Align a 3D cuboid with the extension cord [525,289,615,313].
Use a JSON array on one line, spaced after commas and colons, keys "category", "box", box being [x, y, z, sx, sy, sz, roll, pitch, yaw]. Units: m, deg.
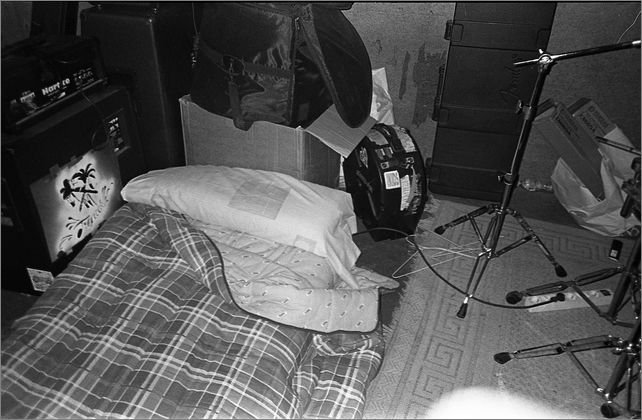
[{"category": "extension cord", "box": [1.378, 0.543, 2.564, 0.662, 0.090, 0.098, -5, -41, 6]}]
